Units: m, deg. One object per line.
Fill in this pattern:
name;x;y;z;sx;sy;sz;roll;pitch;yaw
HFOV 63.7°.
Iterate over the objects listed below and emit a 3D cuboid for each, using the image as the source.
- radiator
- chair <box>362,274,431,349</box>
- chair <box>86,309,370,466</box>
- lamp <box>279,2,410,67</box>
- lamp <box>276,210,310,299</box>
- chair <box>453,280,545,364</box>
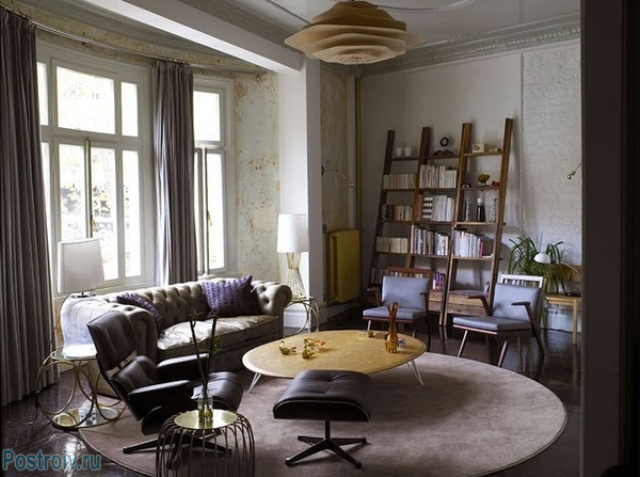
radiator;0.265;0.371;6.927;0.351;1.140;1.101;0;0;21
chair;0.779;0.731;5.267;0.600;0.774;0.643;0;-2;42
chair;-0.504;0.776;3.317;1.544;0.902;0.879;1;3;6
lamp;0.179;-1.170;2.995;0.393;0.216;0.402;0;5;-13
lamp;-0.312;0.205;5.797;0.317;0.978;0.716;-1;4;-4
chair;1.653;0.776;4.793;0.702;0.698;0.571;0;2;-29
